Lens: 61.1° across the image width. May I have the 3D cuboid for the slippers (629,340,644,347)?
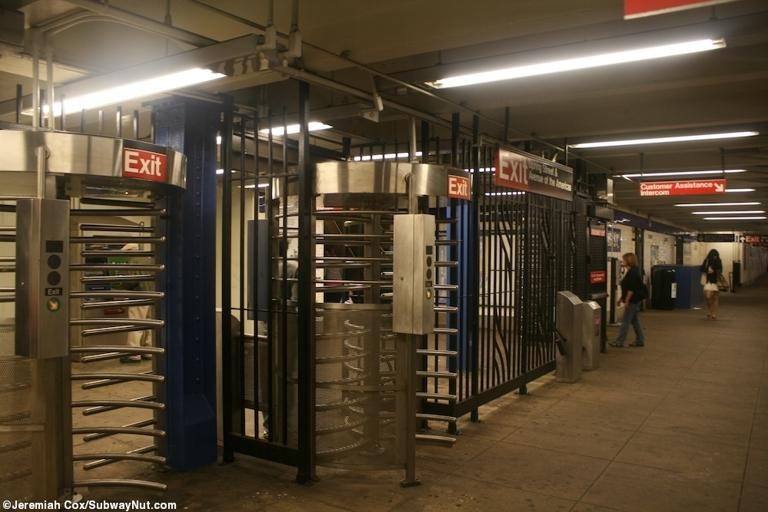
[{"bbox_3d":[5.062,1.755,13.029,0.264,0.108,0.098,4,5,30],"label":"slippers"}]

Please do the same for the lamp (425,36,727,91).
[{"bbox_3d":[2.049,-2.063,6.985,2.884,0.330,0.249,2,7,18],"label":"lamp"}]

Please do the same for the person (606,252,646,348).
[{"bbox_3d":[5.026,0.890,13.275,0.621,1.981,1.541,2,7,21],"label":"person"}]

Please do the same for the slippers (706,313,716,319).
[{"bbox_3d":[9.011,1.662,17.852,0.145,0.139,0.410,8,8,40],"label":"slippers"}]

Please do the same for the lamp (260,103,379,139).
[{"bbox_3d":[-0.997,-1.839,8.920,1.207,0.316,2.569,-2,7,-17],"label":"lamp"}]

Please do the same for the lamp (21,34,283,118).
[{"bbox_3d":[-2.251,-1.788,6.425,2.503,0.537,0.337,3,7,28],"label":"lamp"}]

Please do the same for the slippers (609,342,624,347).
[{"bbox_3d":[4.612,1.738,12.937,0.096,0.106,0.277,1,3,-37],"label":"slippers"}]

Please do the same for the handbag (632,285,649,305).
[{"bbox_3d":[5.000,0.725,12.658,0.489,0.362,0.191,-5,8,-38],"label":"handbag"}]
